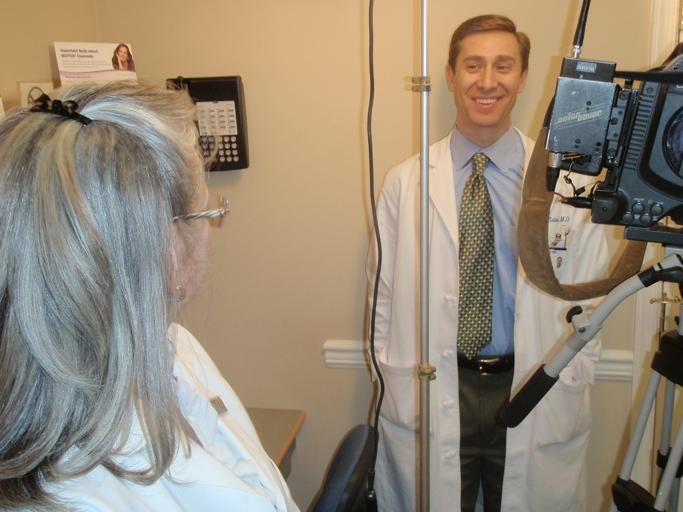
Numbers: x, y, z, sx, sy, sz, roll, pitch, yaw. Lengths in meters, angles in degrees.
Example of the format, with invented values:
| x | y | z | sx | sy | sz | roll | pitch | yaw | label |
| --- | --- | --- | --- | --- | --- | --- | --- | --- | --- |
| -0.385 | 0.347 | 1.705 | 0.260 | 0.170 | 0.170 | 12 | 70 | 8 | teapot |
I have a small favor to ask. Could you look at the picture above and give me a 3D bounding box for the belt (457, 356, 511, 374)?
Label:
| x | y | z | sx | sy | sz | roll | pitch | yaw | label |
| --- | --- | --- | --- | --- | --- | --- | --- | --- | --- |
| 0.499 | 0.373 | 2.132 | 0.193 | 0.059 | 0.038 | -1 | 19 | 1 | belt |
